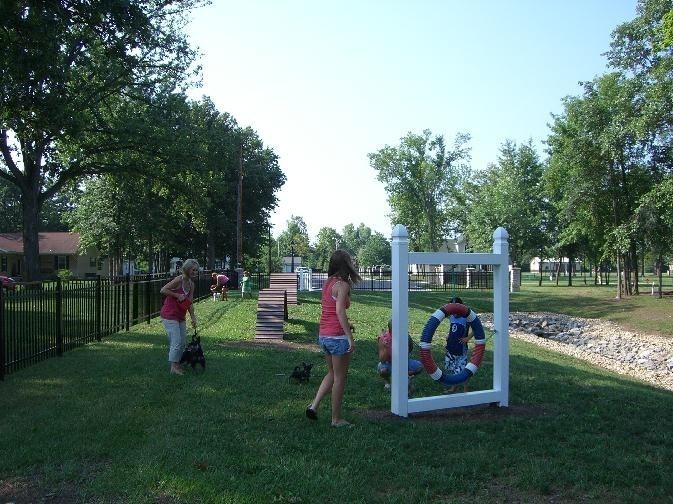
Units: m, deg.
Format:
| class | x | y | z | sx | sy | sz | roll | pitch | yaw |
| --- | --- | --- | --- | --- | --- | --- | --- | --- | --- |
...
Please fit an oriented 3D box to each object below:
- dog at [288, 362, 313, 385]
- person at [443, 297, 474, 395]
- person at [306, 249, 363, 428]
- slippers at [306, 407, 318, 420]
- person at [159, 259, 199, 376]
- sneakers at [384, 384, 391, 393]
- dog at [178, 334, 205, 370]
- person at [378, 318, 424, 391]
| class | x | y | z | sx | sy | sz | roll | pitch | yaw |
| --- | --- | --- | --- | --- | --- | --- | --- | --- | --- |
| dog | -0.752 | 2.558 | 13.093 | 0.267 | 0.450 | 0.600 | 3 | -16 | -44 |
| person | 2.409 | 1.966 | 12.484 | 0.484 | 2.021 | 1.028 | 4 | 12 | 12 |
| person | -0.035 | 1.506 | 10.967 | 0.824 | 3.046 | 0.857 | 1 | 12 | 1 |
| slippers | -0.448 | 2.844 | 11.035 | 0.100 | 0.130 | 0.291 | 6 | 5 | -4 |
| person | -3.341 | 1.418 | 13.338 | 0.652 | 2.531 | 0.845 | 5 | 12 | 19 |
| sneakers | 1.024 | 2.743 | 12.651 | 0.091 | 0.131 | 0.129 | -1 | -2 | 1 |
| dog | -3.079 | 2.167 | 13.693 | 0.248 | 0.611 | 0.834 | 7 | -16 | -21 |
| person | 1.223 | 2.085 | 12.777 | 0.888 | 1.464 | 0.767 | -3 | 1 | -14 |
